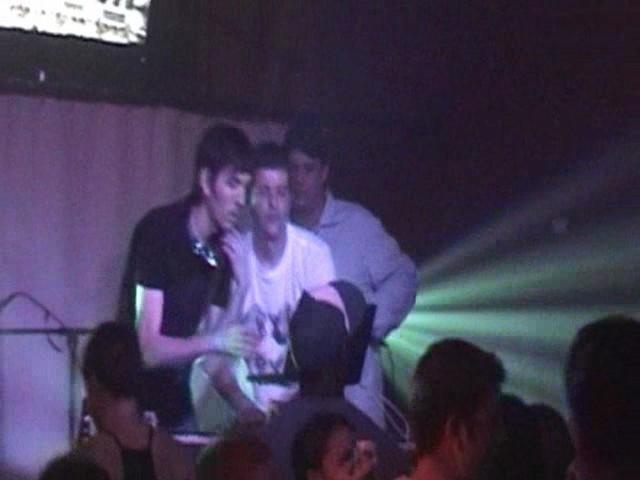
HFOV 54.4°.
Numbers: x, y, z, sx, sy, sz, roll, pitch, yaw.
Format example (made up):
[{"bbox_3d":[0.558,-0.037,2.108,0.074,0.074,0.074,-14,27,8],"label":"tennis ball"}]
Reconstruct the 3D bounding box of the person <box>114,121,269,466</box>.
[{"bbox_3d":[-0.557,0.143,2.691,0.573,1.325,0.200,6,5,-18],"label":"person"}]
